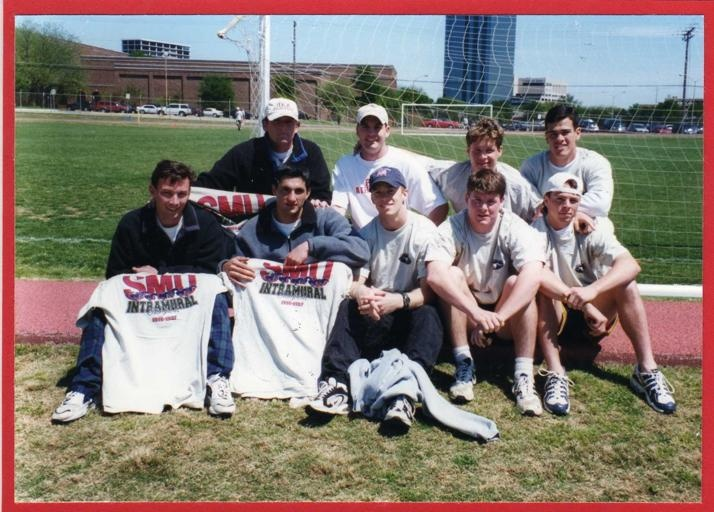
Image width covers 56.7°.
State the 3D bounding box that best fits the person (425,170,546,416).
[{"bbox_3d":[1.114,0.258,5.686,1.013,1.952,0.789,2,11,7],"label":"person"}]

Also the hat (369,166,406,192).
[{"bbox_3d":[0.269,-0.662,5.775,0.311,0.211,0.178,1,11,-1],"label":"hat"}]

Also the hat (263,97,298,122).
[{"bbox_3d":[-0.757,-1.471,6.699,0.336,0.226,0.229,0,11,-8],"label":"hat"}]

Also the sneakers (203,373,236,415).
[{"bbox_3d":[-1.127,1.149,5.477,0.231,0.251,0.312,-2,11,-13],"label":"sneakers"}]

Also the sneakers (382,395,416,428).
[{"bbox_3d":[0.341,1.235,5.252,0.270,0.263,0.265,1,11,0],"label":"sneakers"}]

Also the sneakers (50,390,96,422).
[{"bbox_3d":[-2.310,1.213,5.377,0.141,0.158,0.342,0,0,18],"label":"sneakers"}]

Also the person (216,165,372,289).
[{"bbox_3d":[-0.614,-0.245,6.263,1.491,1.279,0.973,-3,7,-8],"label":"person"}]

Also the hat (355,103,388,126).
[{"bbox_3d":[0.155,-1.418,6.652,0.303,0.198,0.297,1,11,-3],"label":"hat"}]

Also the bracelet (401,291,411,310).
[{"bbox_3d":[0.435,0.395,5.757,0.078,0.123,0.109,3,28,12],"label":"bracelet"}]

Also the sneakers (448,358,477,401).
[{"bbox_3d":[0.909,1.051,5.626,0.209,0.325,0.261,4,11,13],"label":"sneakers"}]

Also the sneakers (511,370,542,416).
[{"bbox_3d":[1.438,1.142,5.538,0.256,0.290,0.252,4,11,14],"label":"sneakers"}]
